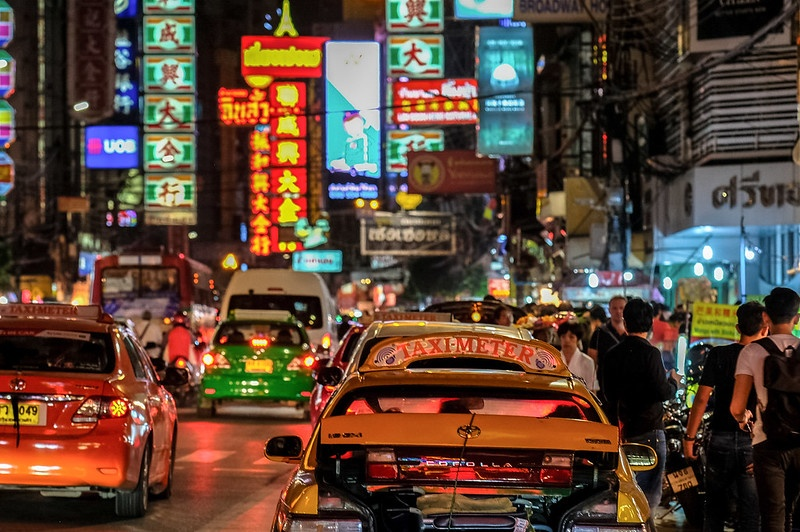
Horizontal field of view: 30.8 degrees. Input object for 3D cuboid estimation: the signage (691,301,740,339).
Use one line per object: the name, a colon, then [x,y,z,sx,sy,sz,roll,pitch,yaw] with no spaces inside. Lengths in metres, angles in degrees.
signage: [5.654,1.023,25.992,0.649,0.577,0.094,-1,1,3]

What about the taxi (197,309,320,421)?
taxi: [-3.317,2.136,33.900,2.672,2.337,4.851,2,4,-3]

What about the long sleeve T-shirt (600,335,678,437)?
long sleeve T-shirt: [3.497,1.764,21.321,1.009,1.416,0.783,-6,-6,37]

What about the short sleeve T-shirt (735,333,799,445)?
short sleeve T-shirt: [4.979,1.700,19.713,0.783,1.484,0.301,1,-1,13]

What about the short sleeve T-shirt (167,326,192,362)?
short sleeve T-shirt: [-5.184,2.021,34.106,0.495,0.963,0.540,-4,-40,-3]

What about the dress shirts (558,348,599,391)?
dress shirts: [2.646,1.575,21.581,0.731,0.691,0.418,2,-8,35]
